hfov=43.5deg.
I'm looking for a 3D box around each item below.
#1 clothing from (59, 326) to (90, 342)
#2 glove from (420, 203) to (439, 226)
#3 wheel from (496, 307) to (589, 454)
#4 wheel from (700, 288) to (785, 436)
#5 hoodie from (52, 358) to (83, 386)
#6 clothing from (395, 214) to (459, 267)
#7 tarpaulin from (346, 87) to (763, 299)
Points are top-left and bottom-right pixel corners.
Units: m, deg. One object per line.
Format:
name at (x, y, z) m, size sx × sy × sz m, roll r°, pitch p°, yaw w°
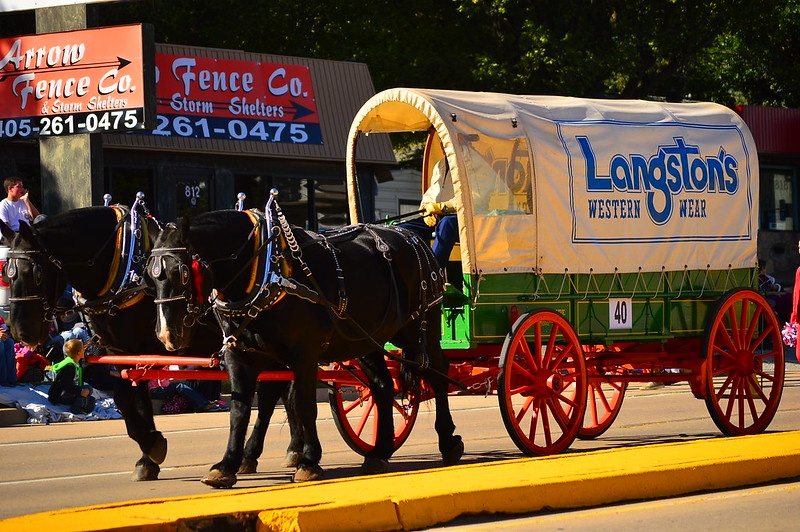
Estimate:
clothing at (-5.292, 1.131, 16.365) m, size 0.582 × 0.266 × 0.583 m, roll 1°, pitch -5°, yaw -26°
glove at (0.386, -0.662, 13.065) m, size 0.094 × 0.281 × 0.203 m, roll -2°, pitch 1°, yaw -37°
wheel at (1.788, 1.480, 12.581) m, size 0.534 × 1.873 × 1.852 m, roll -7°, pitch -15°, yaw 43°
wheel at (4.807, 1.352, 13.837) m, size 2.028 × 2.042 × 0.597 m, roll 9°, pitch -9°, yaw -40°
hoodie at (-5.551, 1.768, 16.900) m, size 0.474 × 0.587 × 0.491 m, roll -4°, pitch 4°, yaw -11°
clothing at (0.439, -0.320, 13.164) m, size 0.530 × 0.694 × 0.729 m, roll -3°, pitch 4°, yaw -40°
tarpaulin at (2.332, -1.188, 14.197) m, size 5.338 × 2.441 × 3.017 m, roll -3°, pitch 4°, yaw -22°
